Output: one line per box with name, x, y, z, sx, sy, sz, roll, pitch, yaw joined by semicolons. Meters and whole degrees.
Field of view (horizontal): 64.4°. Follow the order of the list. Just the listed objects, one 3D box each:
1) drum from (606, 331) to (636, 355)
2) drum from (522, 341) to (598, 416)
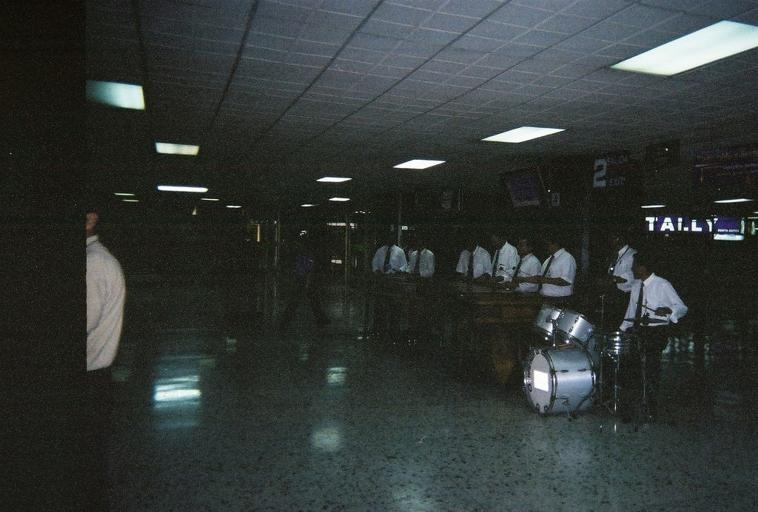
drum;2.238;0.793;5.514;0.243;0.146;0.224;1;-4;0
drum;1.715;1.104;5.941;0.686;0.738;0.761;-1;-2;-17
